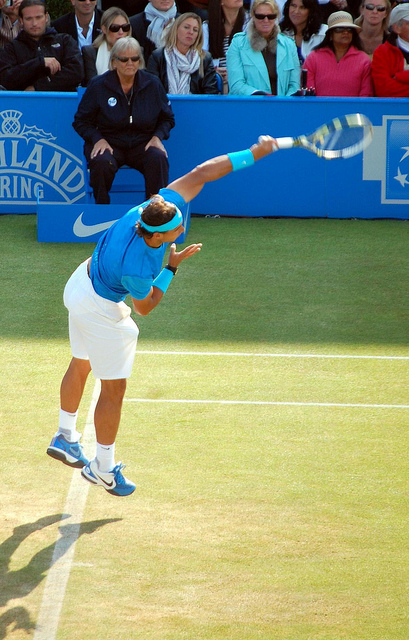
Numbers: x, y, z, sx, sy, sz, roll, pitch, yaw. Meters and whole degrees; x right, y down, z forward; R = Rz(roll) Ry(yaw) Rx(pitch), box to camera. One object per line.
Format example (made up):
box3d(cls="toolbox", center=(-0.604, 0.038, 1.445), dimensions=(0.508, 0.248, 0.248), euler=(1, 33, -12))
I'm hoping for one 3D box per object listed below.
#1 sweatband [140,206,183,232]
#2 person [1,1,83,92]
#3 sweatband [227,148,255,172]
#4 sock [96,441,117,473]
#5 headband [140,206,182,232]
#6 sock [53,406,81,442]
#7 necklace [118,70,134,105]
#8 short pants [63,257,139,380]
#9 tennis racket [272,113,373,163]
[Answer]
box3d(cls="sweatband", center=(-0.159, -0.409, 3.245), dimensions=(0.121, 0.028, 0.108), euler=(-37, 46, -22))
box3d(cls="person", center=(-1.788, -3.054, 9.262), dimensions=(0.899, 0.953, 0.492), euler=(2, 15, 1))
box3d(cls="sweatband", center=(0.147, -0.718, 3.694), dimensions=(0.113, 0.080, 0.111), euler=(-14, -13, -9))
box3d(cls="sock", center=(-0.413, 0.582, 3.547), dimensions=(0.083, 0.124, 0.045), euler=(0, 15, -6))
box3d(cls="headband", center=(-0.162, -0.390, 3.253), dimensions=(0.122, 0.028, 0.107), euler=(-31, 51, -14))
box3d(cls="sock", center=(-0.615, 0.471, 3.782), dimensions=(0.102, 0.161, 0.099), euler=(-1, 15, -9))
box3d(cls="necklace", center=(-0.787, -2.314, 8.265), dimensions=(0.198, 0.293, 0.067), euler=(-11, 19, -39))
box3d(cls="short pants", center=(-0.456, -0.020, 3.618), dimensions=(0.334, 0.526, 0.413), euler=(-2, 13, -17))
box3d(cls="tennis racket", center=(0.557, -0.898, 4.036), dimensions=(0.300, 0.215, 0.740), euler=(12, 17, 36))
